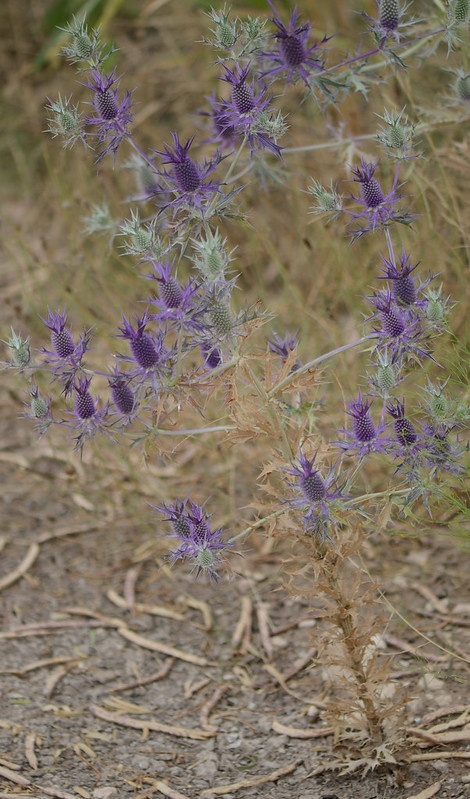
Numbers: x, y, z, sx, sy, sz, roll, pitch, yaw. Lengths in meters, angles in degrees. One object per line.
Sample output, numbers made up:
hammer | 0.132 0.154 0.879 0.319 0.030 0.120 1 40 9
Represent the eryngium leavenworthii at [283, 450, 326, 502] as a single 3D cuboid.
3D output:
eryngium leavenworthii | 0.143 0.156 1.620 0.071 0.097 0.066 -31 26 5
